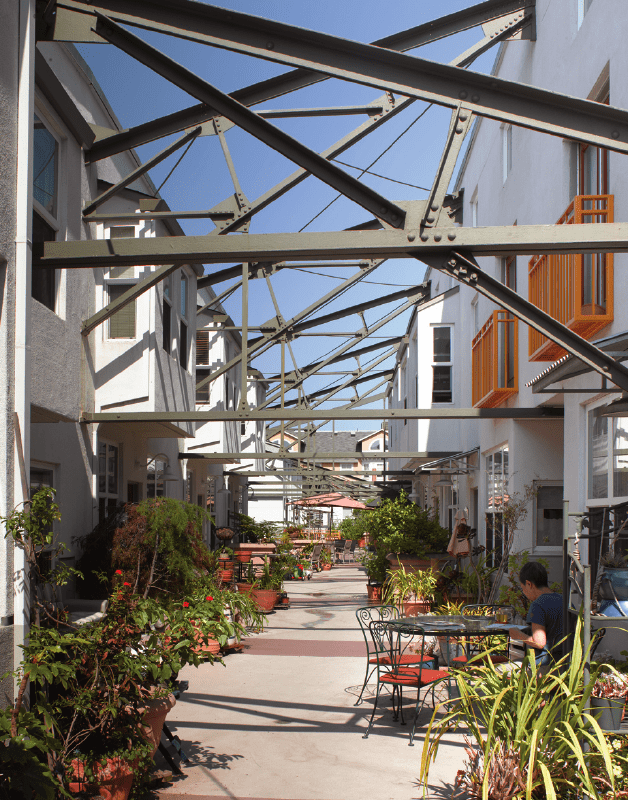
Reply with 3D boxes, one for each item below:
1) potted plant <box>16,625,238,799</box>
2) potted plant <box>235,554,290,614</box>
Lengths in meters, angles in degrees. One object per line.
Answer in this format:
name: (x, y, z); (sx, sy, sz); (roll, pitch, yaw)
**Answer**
potted plant: (-1.158, 1.786, 6.097); (1.015, 1.246, 1.329); (0, -2, -6)
potted plant: (-0.602, 3.124, 16.747); (1.228, 1.114, 1.048); (2, -10, -13)
